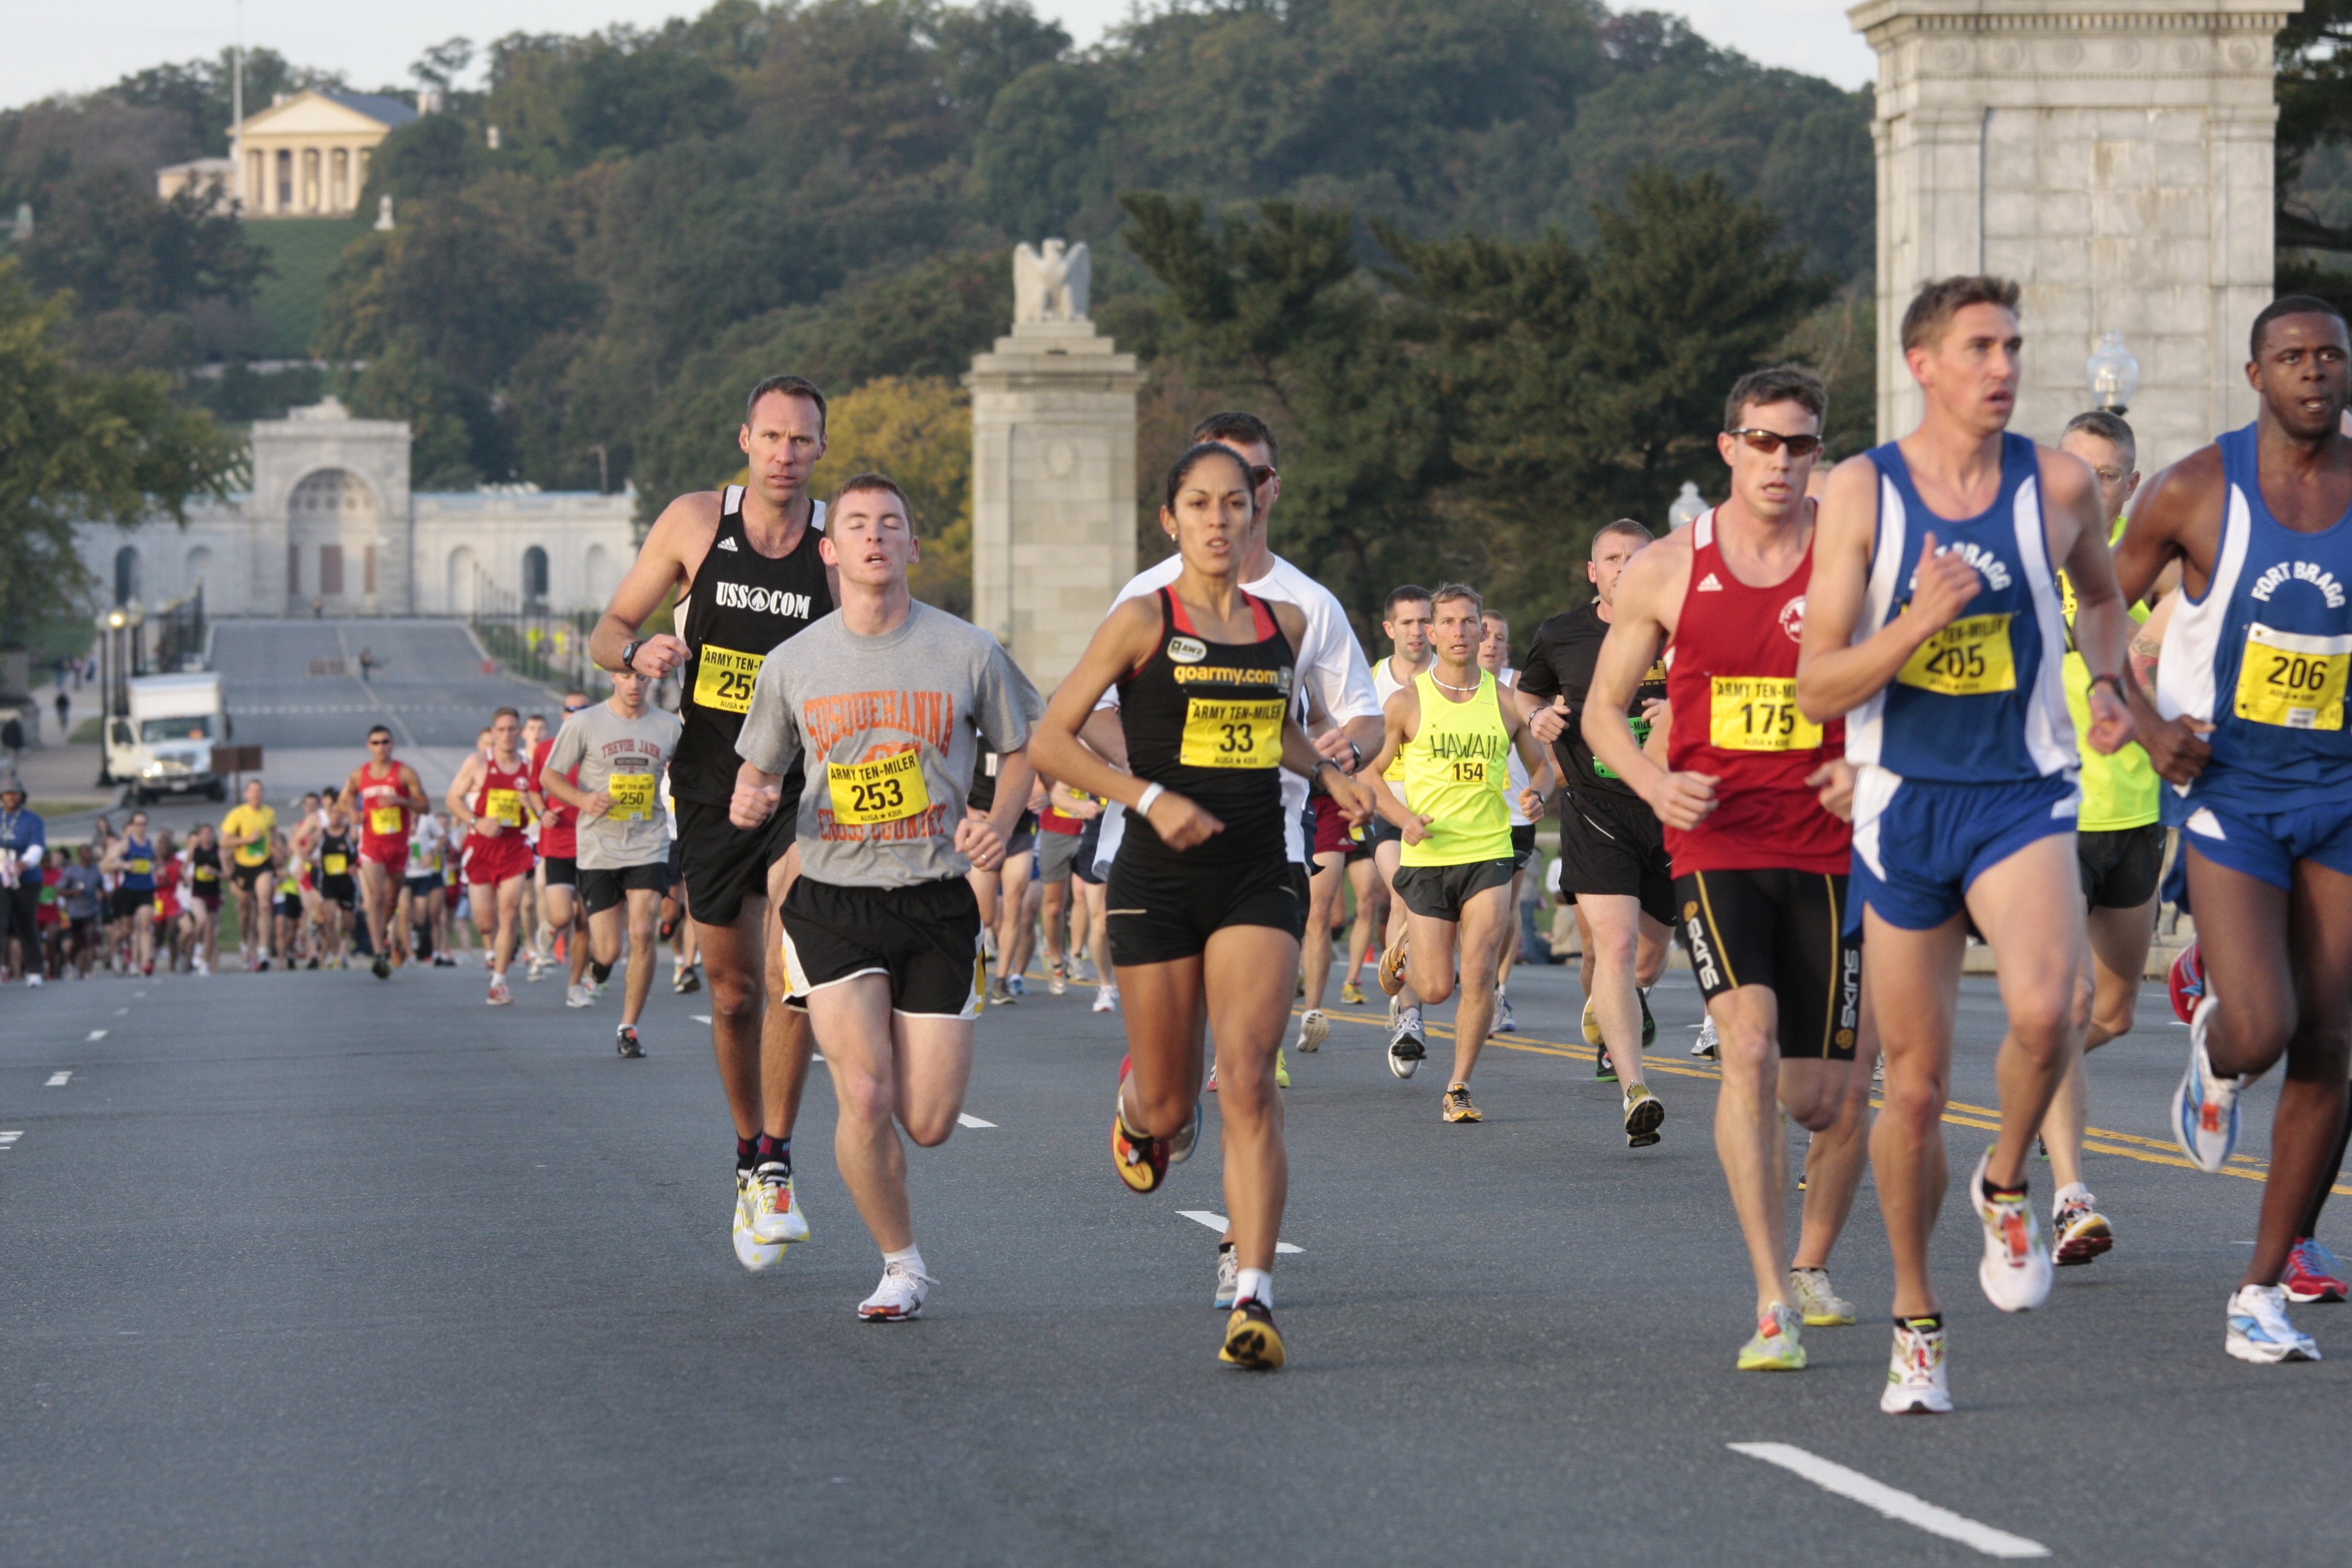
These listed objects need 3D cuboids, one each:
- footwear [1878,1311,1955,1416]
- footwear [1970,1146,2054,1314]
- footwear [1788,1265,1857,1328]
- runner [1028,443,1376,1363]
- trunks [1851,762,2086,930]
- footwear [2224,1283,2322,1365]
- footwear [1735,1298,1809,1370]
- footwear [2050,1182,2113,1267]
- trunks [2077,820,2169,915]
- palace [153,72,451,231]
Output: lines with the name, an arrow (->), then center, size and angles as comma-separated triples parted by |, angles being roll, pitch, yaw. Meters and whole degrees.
footwear -> 2.122, 1.644, 9.931 | 0.208, 0.308, 0.225 | 0, 4, 11
footwear -> 2.453, 1.264, 10.290 | 0.215, 0.236, 0.612 | -6, 46, 7
footwear -> 2.018, 1.618, 10.934 | 0.136, 0.137, 0.301 | 1, -1, -19
runner -> -0.001, 0.347, 10.995 | 0.894, 2.818, 1.123 | -1, 4, 2
trunks -> 2.227, 0.158, 9.904 | 0.625, 0.467, 0.422 | 1, -4, 7
footwear -> 3.299, 1.607, 10.437 | 0.265, 0.233, 0.223 | 0, 5, 17
footwear -> 1.805, 1.654, 10.415 | 0.124, 0.138, 0.263 | 1, 6, 6
footwear -> 3.082, 1.512, 11.803 | 0.151, 0.193, 0.384 | -1, -14, -11
trunks -> 3.504, 0.310, 12.844 | 0.387, 0.380, 0.267 | -1, -10, 2
palace -> -51.106, -36.894, 201.670 | 11.720, 9.605, 33.838 | -2, 5, -14
